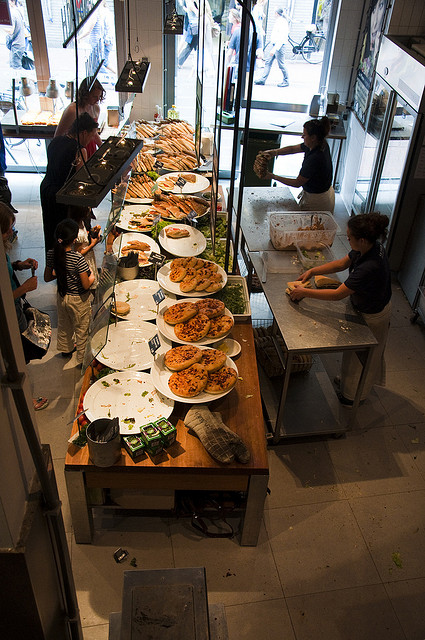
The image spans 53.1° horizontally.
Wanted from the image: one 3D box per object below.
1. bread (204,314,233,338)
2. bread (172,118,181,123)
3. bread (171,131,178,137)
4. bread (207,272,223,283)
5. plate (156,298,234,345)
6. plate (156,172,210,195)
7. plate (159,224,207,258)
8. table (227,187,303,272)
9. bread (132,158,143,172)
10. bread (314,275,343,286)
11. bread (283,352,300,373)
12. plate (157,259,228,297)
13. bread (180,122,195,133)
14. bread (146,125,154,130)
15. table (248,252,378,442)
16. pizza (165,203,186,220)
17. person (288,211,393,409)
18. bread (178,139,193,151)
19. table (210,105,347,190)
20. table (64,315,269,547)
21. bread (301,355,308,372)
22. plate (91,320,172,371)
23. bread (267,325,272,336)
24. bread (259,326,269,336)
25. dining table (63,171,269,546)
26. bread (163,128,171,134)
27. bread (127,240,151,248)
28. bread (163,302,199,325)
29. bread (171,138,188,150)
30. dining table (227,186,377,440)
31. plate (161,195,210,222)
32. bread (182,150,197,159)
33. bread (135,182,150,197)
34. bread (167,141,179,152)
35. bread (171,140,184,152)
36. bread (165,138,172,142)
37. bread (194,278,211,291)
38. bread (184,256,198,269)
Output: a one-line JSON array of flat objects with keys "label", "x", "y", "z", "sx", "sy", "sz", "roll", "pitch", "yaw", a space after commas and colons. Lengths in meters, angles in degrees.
[{"label": "bread", "x": 0.045, "y": 0.035, "z": 2.978, "sx": 0.138, "sy": 0.035, "sz": 0.152, "roll": -7, "pitch": 51, "yaw": 8}, {"label": "bread", "x": -0.522, "y": -2.915, "z": 6.245, "sx": 0.034, "sy": 0.031, "sz": 0.133, "roll": -3, "pitch": 48, "yaw": -42}, {"label": "bread", "x": -0.512, "y": -2.537, "z": 5.825, "sx": 0.068, "sy": 0.017, "sz": 0.073, "roll": 37, "pitch": 38, "yaw": -24}, {"label": "bread", "x": 0.027, "y": -0.338, "z": 3.438, "sx": 0.081, "sy": 0.028, "sz": 0.085, "roll": -8, "pitch": 50, "yaw": -19}, {"label": "plate", "x": -0.186, "y": 0.028, "z": 2.983, "sx": 0.363, "sy": 0.041, "sz": 0.380, "roll": -7, "pitch": 48, "yaw": -10}, {"label": "plate", "x": -0.332, "y": -1.567, "z": 4.855, "sx": 0.594, "sy": 0.126, "sz": 0.551, "roll": 8, "pitch": 35, "yaw": 6}, {"label": "plate", "x": -0.277, "y": -0.755, "z": 4.010, "sx": 0.543, "sy": 0.103, "sz": 0.446, "roll": 30, "pitch": 42, "yaw": 32}, {"label": "table", "x": 0.550, "y": -1.207, "z": 4.830, "sx": 0.785, "sy": 0.441, "sz": 1.917, "roll": 1, "pitch": 53, "yaw": 1}, {"label": "bread", "x": -0.892, "y": -1.847, "z": 5.070, "sx": 0.103, "sy": 0.111, "sz": 0.239, "roll": -10, "pitch": 37, "yaw": -19}, {"label": "bread", "x": 0.981, "y": -0.345, "z": 3.695, "sx": 0.118, "sy": 0.038, "sz": 0.124, "roll": 2, "pitch": 28, "yaw": 3}, {"label": "bread", "x": 0.717, "y": 0.392, "z": 3.896, "sx": 0.175, "sy": 0.208, "sz": 0.052, "roll": 1, "pitch": 7, "yaw": 9}, {"label": "plate", "x": -0.228, "y": -0.322, "z": 3.403, "sx": 0.338, "sy": 0.038, "sz": 0.339, "roll": -25, "pitch": 54, "yaw": -25}, {"label": "bread", "x": -0.339, "y": -2.790, "z": 6.216, "sx": 0.188, "sy": 0.049, "sz": 0.180, "roll": 43, "pitch": 25, "yaw": -2}, {"label": "bread", "x": -0.868, "y": -2.680, "z": 5.947, "sx": 0.033, "sy": 0.044, "sz": 0.168, "roll": -29, "pitch": 51, "yaw": -28}, {"label": "table", "x": 0.809, "y": 0.229, "z": 4.025, "sx": 0.713, "sy": 0.903, "sz": 1.811, "roll": -1, "pitch": 24, "yaw": -7}, {"label": "pizza", "x": -0.371, "y": -1.125, "z": 4.431, "sx": 0.174, "sy": 0.054, "sz": 0.179, "roll": 33, "pitch": 38, "yaw": 6}, {"label": "person", "x": 1.142, "y": -0.063, "z": 3.717, "sx": 0.820, "sy": 1.734, "sz": 0.574, "roll": -3, "pitch": 28, "yaw": 9}, {"label": "bread", "x": -0.356, "y": -2.292, "z": 5.603, "sx": 0.058, "sy": 0.047, "sz": 0.229, "roll": -17, "pitch": 68, "yaw": -44}, {"label": "table", "x": 1.134, "y": -2.786, "z": 6.944, "sx": 1.877, "sy": 1.120, "sz": 1.458, "roll": 12, "pitch": 35, "yaw": 12}, {"label": "table", "x": -0.289, "y": 0.846, "z": 2.981, "sx": 1.202, "sy": 0.947, "sz": 1.048, "roll": 1, "pitch": 34, "yaw": -4}, {"label": "bread", "x": 0.864, "y": 0.411, "z": 4.016, "sx": 0.099, "sy": 0.107, "sz": 0.104, "roll": 1, "pitch": 27, "yaw": 2}, {"label": "plate", "x": -0.555, "y": 0.184, "z": 2.890, "sx": 0.343, "sy": 0.038, "sz": 0.352, "roll": -17, "pitch": 56, "yaw": -19}, {"label": "bread", "x": 0.577, "y": 0.104, "z": 4.289, "sx": 0.020, "sy": 0.051, "sz": 0.072, "roll": 10, "pitch": 76, "yaw": -12}, {"label": "bread", "x": 0.517, "y": 0.116, "z": 4.274, "sx": 0.019, "sy": 0.074, "sz": 0.072, "roll": -19, "pitch": 67, "yaw": -10}, {"label": "dining table", "x": -0.313, "y": 0.096, "z": 3.655, "sx": 1.111, "sy": 0.771, "sz": 3.163, "roll": 3, "pitch": 39, "yaw": -6}, {"label": "bread", "x": -0.623, "y": -2.609, "z": 5.885, "sx": 0.096, "sy": 0.027, "sz": 0.092, "roll": -10, "pitch": 66, "yaw": -11}, {"label": "bread", "x": -0.667, "y": -0.696, "z": 3.883, "sx": 0.101, "sy": 0.030, "sz": 0.087, "roll": 24, "pitch": 14, "yaw": 28}, {"label": "bread", "x": -0.227, "y": -0.048, "z": 3.011, "sx": 0.157, "sy": 0.041, "sz": 0.167, "roll": -15, "pitch": 25, "yaw": -5}, {"label": "bread", "x": -0.427, "y": -2.305, "z": 5.604, "sx": 0.289, "sy": 0.057, "sz": 0.078, "roll": 39, "pitch": 15, "yaw": 0}, {"label": "dining table", "x": 0.772, "y": -0.006, "z": 3.709, "sx": 0.704, "sy": 1.030, "sz": 2.645, "roll": -2, "pitch": 49, "yaw": -3}, {"label": "plate", "x": -0.244, "y": -1.186, "z": 4.532, "sx": 0.434, "sy": 0.166, "sz": 0.527, "roll": 11, "pitch": 35, "yaw": 10}, {"label": "bread", "x": -0.278, "y": -2.134, "z": 5.472, "sx": 0.145, "sy": 0.037, "sz": 0.142, "roll": 14, "pitch": 43, "yaw": 0}, {"label": "bread", "x": -0.779, "y": -1.475, "z": 4.817, "sx": 0.076, "sy": 0.047, "sz": 0.326, "roll": -35, "pitch": 60, "yaw": 3}, {"label": "bread", "x": -0.508, "y": -2.250, "z": 5.546, "sx": 0.035, "sy": 0.048, "sz": 0.218, "roll": -32, "pitch": 81, "yaw": -39}, {"label": "bread", "x": -0.450, "y": -2.258, "z": 5.553, "sx": 0.074, "sy": 0.025, "sz": 0.291, "roll": -28, "pitch": 72, "yaw": -26}, {"label": "bread", "x": -0.585, "y": -2.384, "z": 5.659, "sx": 0.075, "sy": 0.019, "sz": 0.075, "roll": -18, "pitch": 58, "yaw": -13}, {"label": "bread", "x": -0.072, "y": -0.275, "z": 3.328, "sx": 0.092, "sy": 0.023, "sz": 0.093, "roll": 5, "pitch": 54, "yaw": 26}, {"label": "bread", "x": -0.166, "y": -0.480, "z": 3.508, "sx": 0.081, "sy": 0.020, "sz": 0.082, "roll": 12, "pitch": 57, "yaw": 15}]
